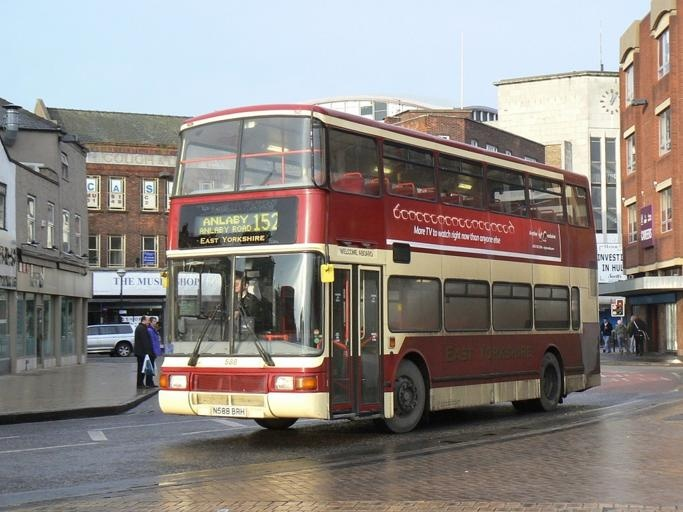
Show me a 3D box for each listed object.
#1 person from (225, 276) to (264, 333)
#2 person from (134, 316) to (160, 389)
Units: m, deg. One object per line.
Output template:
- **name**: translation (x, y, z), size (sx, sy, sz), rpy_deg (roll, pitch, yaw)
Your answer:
- **person**: translation (-1.562, 0.687, 12.119), size (0.474, 0.974, 0.471), rpy_deg (3, 7, -16)
- **person**: translation (-5.997, 2.886, 22.968), size (0.604, 2.186, 1.073), rpy_deg (1, -8, -14)
